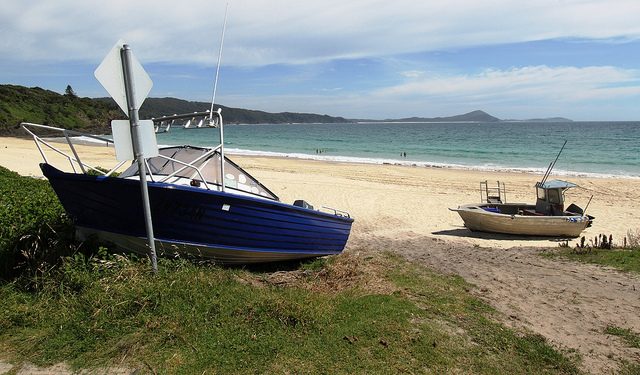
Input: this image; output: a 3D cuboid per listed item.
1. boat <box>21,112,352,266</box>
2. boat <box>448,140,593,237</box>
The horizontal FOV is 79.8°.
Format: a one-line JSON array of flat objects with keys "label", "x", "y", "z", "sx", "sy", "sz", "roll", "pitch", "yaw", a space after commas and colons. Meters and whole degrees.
[{"label": "boat", "x": -2.719, "y": 0.282, "z": 10.127, "sx": 3.101, "sy": 3.302, "sz": 9.211, "roll": -2, "pitch": -7, "yaw": 40}, {"label": "boat", "x": 7.793, "y": 0.349, "z": 14.628, "sx": 5.126, "sy": 2.968, "sz": 1.551, "roll": -2, "pitch": 10, "yaw": 5}]
